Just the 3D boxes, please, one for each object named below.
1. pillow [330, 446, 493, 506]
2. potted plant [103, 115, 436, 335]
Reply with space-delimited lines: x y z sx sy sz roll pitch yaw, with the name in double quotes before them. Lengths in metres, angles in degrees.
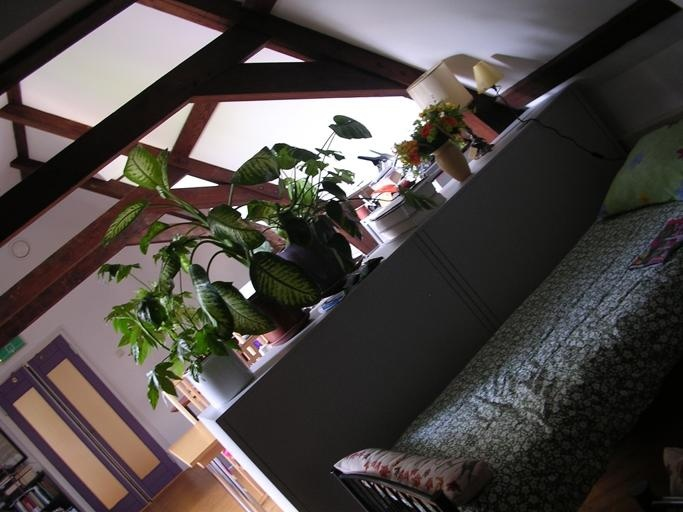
"pillow" 0.178 0.568 1.250 0.162 0.059 0.320 -25 7 -39
"potted plant" -0.391 0.025 1.919 1.013 0.534 1.050 -13 44 37
